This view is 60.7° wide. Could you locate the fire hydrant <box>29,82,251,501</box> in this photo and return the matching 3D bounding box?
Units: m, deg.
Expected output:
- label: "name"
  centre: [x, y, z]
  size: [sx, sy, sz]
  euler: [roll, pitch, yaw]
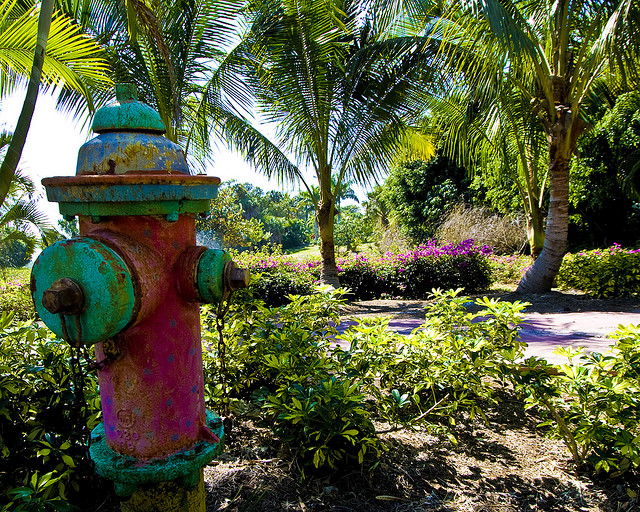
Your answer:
- label: "fire hydrant"
  centre: [-0.797, 0.225, 2.428]
  size: [0.868, 1.807, 0.498]
  euler: [0, 13, -19]
